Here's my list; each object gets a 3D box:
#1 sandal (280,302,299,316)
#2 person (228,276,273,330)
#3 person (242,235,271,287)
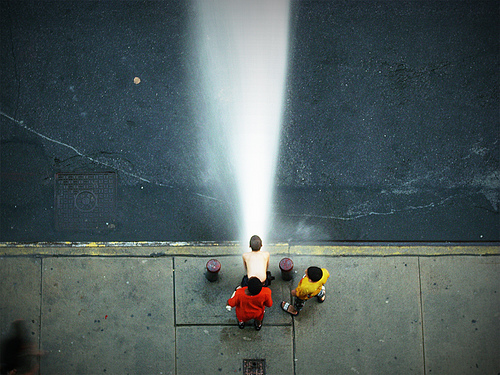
[{"bbox_3d":[0.815,2.510,12.198,0.334,0.202,0.082,31,-37,-4],"label":"sandal"},{"bbox_3d":[-0.054,2.170,11.866,0.894,0.739,2.335,5,-28,-1],"label":"person"},{"bbox_3d":[0.131,1.562,11.893,0.471,0.743,1.409,-1,-65,2],"label":"person"}]
